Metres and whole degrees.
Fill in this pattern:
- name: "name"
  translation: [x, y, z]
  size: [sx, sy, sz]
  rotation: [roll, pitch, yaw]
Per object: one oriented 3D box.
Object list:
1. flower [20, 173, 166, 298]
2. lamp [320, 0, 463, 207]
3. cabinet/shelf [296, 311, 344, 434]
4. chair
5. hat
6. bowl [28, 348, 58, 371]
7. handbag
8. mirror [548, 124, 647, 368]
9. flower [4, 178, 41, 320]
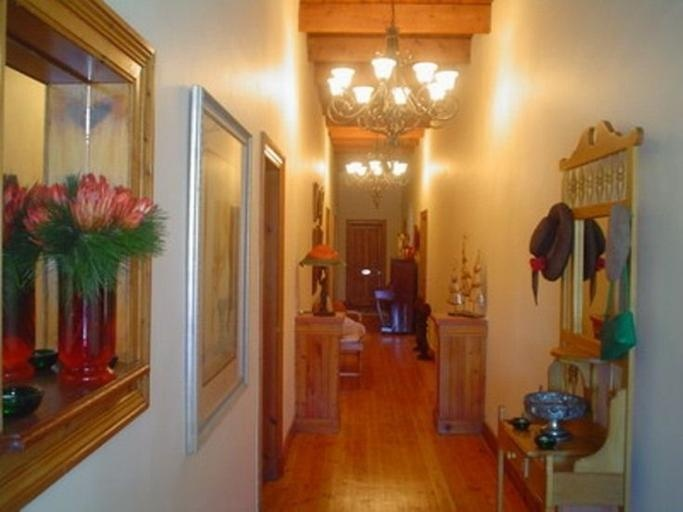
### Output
- name: "flower"
  translation: [-0.557, -0.050, 1.311]
  size: [0.275, 0.299, 0.187]
  rotation: [0, 1, -20]
- name: "lamp"
  translation: [0.403, -1.241, 5.058]
  size: [1.310, 2.310, 1.396]
  rotation: [2, 2, -1]
- name: "cabinet/shelf"
  translation: [-0.199, 1.017, 4.953]
  size: [0.408, 1.006, 0.202]
  rotation: [0, 1, -2]
- name: "chair"
  translation: [1.017, 0.582, 10.563]
  size: [0.658, 1.388, 1.437]
  rotation: [0, 11, 5]
- name: "hat"
  translation: [1.131, -0.032, 3.042]
  size: [0.106, 0.445, 0.333]
  rotation: [6, 15, -19]
- name: "bowl"
  translation: [-0.681, 0.235, 1.295]
  size: [0.038, 0.032, 0.048]
  rotation: [1, 17, -15]
- name: "handbag"
  translation: [1.196, 0.241, 2.445]
  size: [0.127, 0.410, 0.065]
  rotation: [1, 1, 25]
- name: "mirror"
  translation: [1.217, -0.064, 2.771]
  size: [0.251, 1.166, 0.781]
  rotation: [0, 1, 5]
- name: "flower"
  translation: [-0.668, -0.035, 1.178]
  size: [0.065, 0.268, 0.039]
  rotation: [-1, 1, -35]
